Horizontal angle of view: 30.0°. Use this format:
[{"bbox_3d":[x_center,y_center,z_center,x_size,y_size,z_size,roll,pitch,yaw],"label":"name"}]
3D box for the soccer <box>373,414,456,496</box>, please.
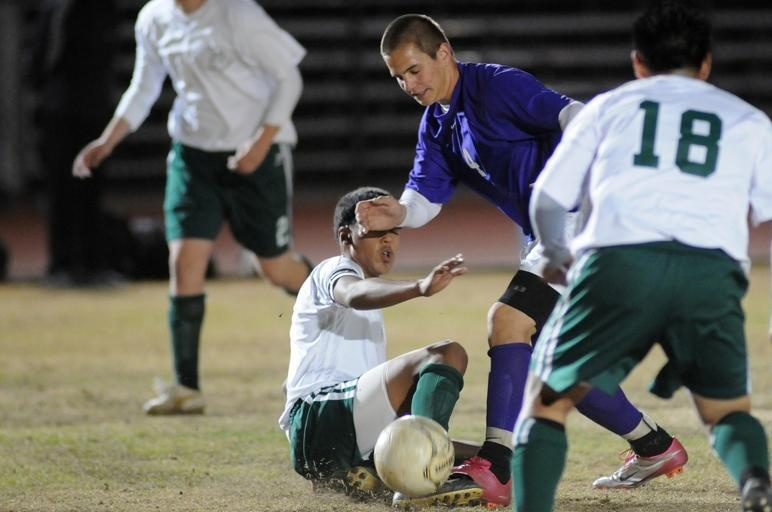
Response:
[{"bbox_3d":[0.286,1.772,12.982,0.748,0.717,0.715,-4,5,17],"label":"soccer"}]
